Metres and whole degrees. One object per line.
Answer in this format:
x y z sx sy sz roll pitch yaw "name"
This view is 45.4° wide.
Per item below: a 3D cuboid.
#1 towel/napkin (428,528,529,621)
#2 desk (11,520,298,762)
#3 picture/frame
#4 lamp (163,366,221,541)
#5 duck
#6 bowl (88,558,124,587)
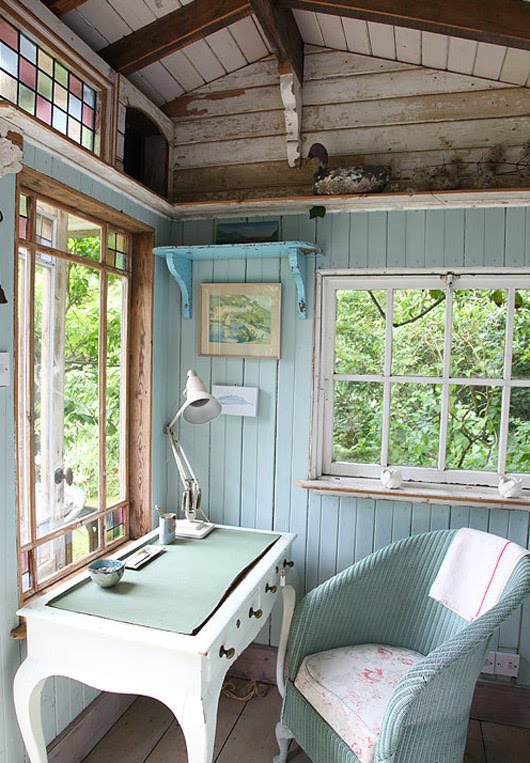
0.682 0.625 2.056 0.100 0.273 0.275 34 -10 -22 "towel/napkin"
-0.331 0.612 1.914 0.624 0.446 0.883 1 6 18 "desk"
-0.082 -0.263 2.676 0.343 0.287 0.036 2 5 16 "picture/frame"
-0.294 0.288 2.543 0.218 0.725 0.642 0 9 -8 "lamp"
0.306 -0.791 2.422 0.293 0.165 0.215 2 5 11 "duck"
-0.506 0.600 1.977 0.083 0.053 0.079 0 1 0 "bowl"
